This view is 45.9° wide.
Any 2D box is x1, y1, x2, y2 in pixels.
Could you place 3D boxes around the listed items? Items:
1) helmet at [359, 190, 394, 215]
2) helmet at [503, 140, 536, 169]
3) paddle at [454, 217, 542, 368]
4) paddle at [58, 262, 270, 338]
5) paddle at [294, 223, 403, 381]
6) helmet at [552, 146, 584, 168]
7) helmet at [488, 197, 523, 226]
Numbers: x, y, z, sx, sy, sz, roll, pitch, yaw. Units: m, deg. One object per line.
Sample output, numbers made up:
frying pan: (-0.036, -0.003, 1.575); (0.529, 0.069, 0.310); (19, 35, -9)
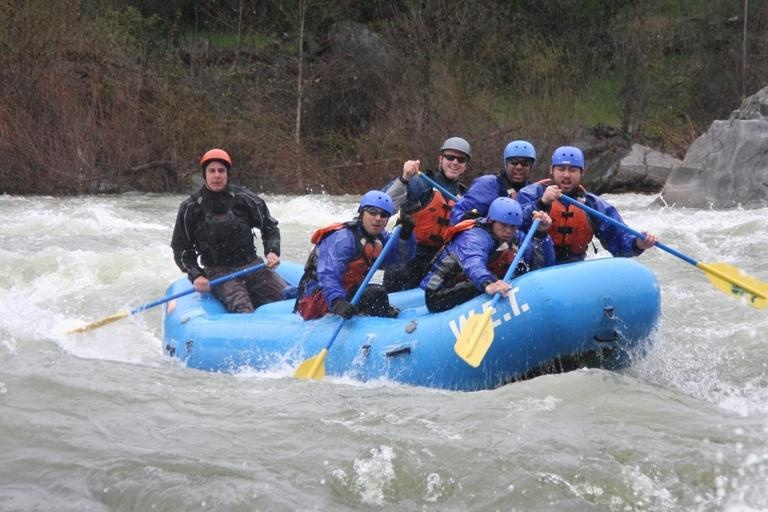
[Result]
helmet: (-0.085, -0.694, 11.160); (0.271, 0.280, 0.369); (14, 7, -17)
helmet: (1.742, -1.319, 11.702); (0.259, 0.287, 0.366); (7, -10, -4)
paddle: (1.411, 0.438, 11.078); (0.462, 0.119, 2.707); (-10, 25, 27)
paddle: (-3.044, 0.643, 12.680); (2.298, 0.167, 0.174); (-22, 46, -4)
paddle: (-0.406, 0.609, 11.050); (0.289, 2.072, 0.155); (23, -14, 27)
helmet: (2.289, -1.224, 11.341); (0.289, 0.185, 0.311); (9, 7, 2)
helmet: (1.445, -0.519, 10.735); (0.285, 0.245, 0.376); (11, 17, -13)
